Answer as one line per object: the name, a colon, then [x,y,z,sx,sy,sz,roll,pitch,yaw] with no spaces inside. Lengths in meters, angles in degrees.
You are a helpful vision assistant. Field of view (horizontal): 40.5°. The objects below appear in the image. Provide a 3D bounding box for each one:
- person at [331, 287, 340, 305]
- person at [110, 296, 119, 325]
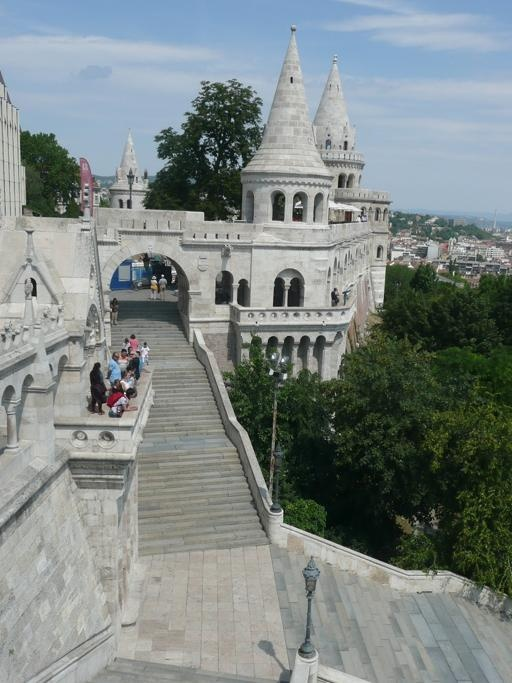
person: [3.730,-2.127,33.347,0.351,1.135,0.460,11,33,30]
person: [-5.963,-1.273,29.072,0.330,1.089,1.425,1,14,-13]
